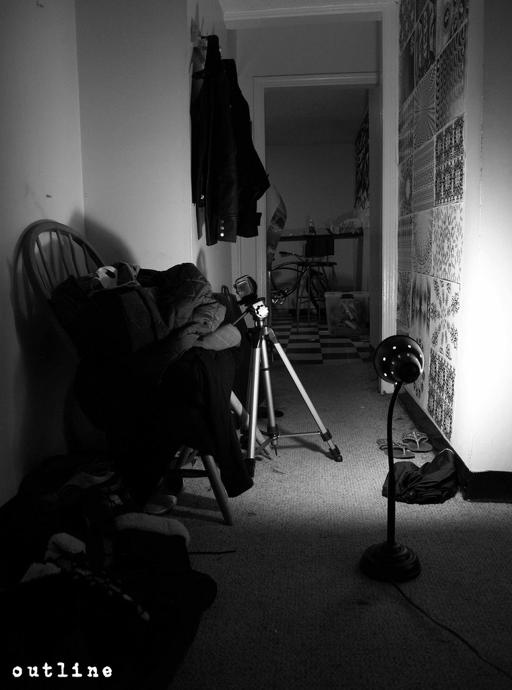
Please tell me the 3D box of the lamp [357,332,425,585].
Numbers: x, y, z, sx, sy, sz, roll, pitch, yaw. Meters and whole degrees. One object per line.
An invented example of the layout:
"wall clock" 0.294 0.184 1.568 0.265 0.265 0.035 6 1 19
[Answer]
"lamp" 0.373 0.278 1.457 0.161 0.610 0.370 0 6 25

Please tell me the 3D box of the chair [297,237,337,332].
"chair" 0.881 -1.037 8.154 0.667 1.222 2.582 -1 6 8

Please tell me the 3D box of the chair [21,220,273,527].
"chair" -0.384 0.051 1.845 0.909 1.015 0.530 2 6 39

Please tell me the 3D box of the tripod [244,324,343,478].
"tripod" 0.074 0.162 2.254 0.332 0.653 0.455 -10 19 -3
